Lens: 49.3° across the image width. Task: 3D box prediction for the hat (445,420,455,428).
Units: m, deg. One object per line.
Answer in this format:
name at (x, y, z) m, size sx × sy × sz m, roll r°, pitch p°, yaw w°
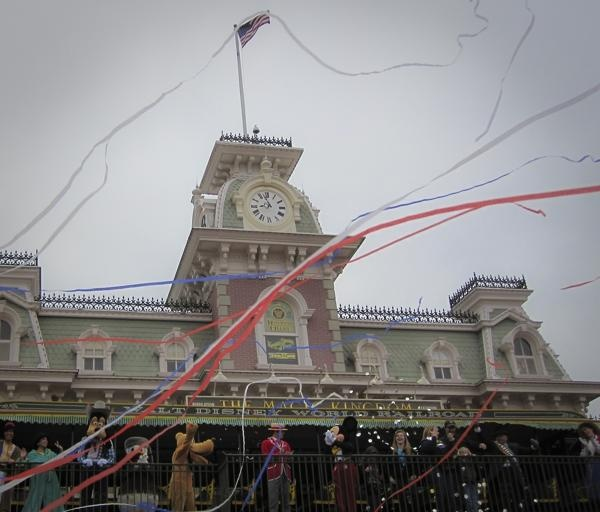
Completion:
hat at (3.524, 3.881, 15.207) m, size 0.246 × 0.133 × 0.290 m, roll 1°, pitch -23°, yaw 0°
